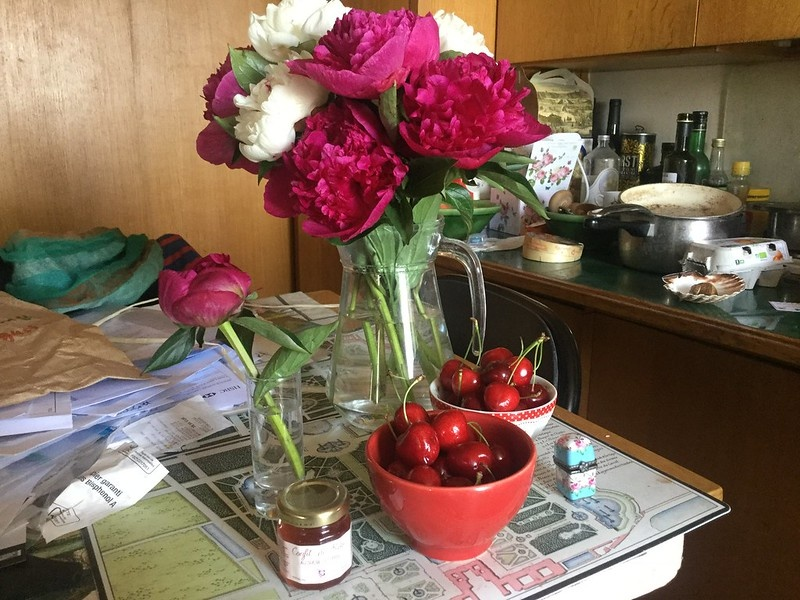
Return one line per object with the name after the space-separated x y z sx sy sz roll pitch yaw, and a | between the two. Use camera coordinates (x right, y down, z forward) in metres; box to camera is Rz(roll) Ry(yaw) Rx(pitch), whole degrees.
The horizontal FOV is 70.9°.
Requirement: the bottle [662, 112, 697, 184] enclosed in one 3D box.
0.861 -0.463 1.712 0.092 0.202 0.188 3 19 17 | bottle

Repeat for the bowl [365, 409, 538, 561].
0.050 0.170 0.516 0.169 0.089 0.158 -1 15 0 | bowl

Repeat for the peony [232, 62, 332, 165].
-0.127 -0.195 0.580 0.057 0.106 0.090 40 0 -2 | peony

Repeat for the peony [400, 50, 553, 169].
0.078 -0.189 0.572 0.163 0.115 0.074 -5 19 -5 | peony

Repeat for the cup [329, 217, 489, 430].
0.005 0.034 0.797 0.258 0.290 0.164 -2 15 -16 | cup

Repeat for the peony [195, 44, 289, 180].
-0.205 -0.225 0.662 0.076 0.147 0.157 -7 4 -37 | peony

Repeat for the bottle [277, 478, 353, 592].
-0.079 0.223 0.528 0.060 0.089 0.061 -3 19 1 | bottle

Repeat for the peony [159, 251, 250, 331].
-0.193 -0.007 0.588 0.116 0.069 0.087 -13 -3 -25 | peony

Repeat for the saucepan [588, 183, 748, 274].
0.738 -0.204 1.512 0.427 0.164 0.239 -17 26 -22 | saucepan

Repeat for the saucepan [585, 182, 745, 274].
0.703 -0.202 1.495 0.427 0.163 0.239 -17 28 -22 | saucepan

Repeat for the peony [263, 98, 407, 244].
-0.076 -0.130 0.588 0.169 0.149 0.100 -1 19 5 | peony
